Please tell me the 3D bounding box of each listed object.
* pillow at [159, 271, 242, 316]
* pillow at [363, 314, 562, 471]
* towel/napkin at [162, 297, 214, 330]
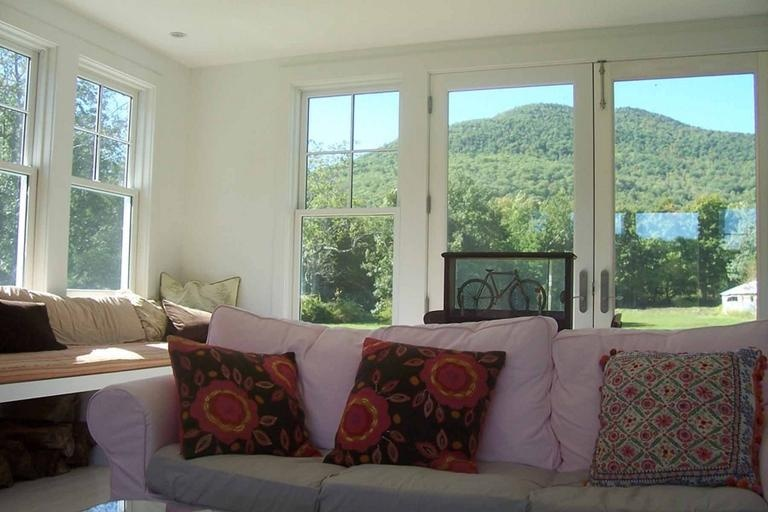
[{"bbox_3d":[-1.715,0.337,5.746,0.576,0.175,0.558,14,24,6],"label":"pillow"},{"bbox_3d":[0.628,0.645,3.116,0.757,0.713,0.232,-2,-6,5],"label":"pillow"},{"bbox_3d":[-1.683,0.513,5.377,0.388,0.119,0.404,28,9,-6],"label":"towel/napkin"}]
